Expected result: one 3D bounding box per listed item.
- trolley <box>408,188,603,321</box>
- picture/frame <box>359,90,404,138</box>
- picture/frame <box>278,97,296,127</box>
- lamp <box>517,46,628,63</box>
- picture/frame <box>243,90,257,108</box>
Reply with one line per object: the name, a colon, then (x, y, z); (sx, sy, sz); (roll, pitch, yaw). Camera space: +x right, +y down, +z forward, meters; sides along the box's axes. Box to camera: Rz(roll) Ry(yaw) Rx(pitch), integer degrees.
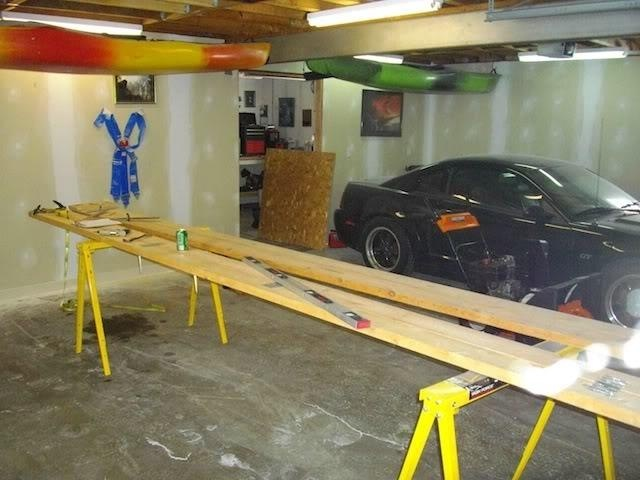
trolley: (1.855, 0.143, 4.898); (0.901, 0.734, 1.594); (-8, 17, -38)
picture/frame: (0.969, -1.938, 6.947); (0.095, 0.789, 0.896); (-5, 12, -44)
picture/frame: (-0.920, -3.560, 12.648); (0.061, 0.789, 0.733); (-9, 18, -40)
lamp: (2.481, -1.868, 4.591); (0.288, 0.134, 1.016); (-6, 15, -33)
picture/frame: (-1.970, -3.991, 12.741); (0.530, 0.566, 0.080); (-5, 13, -39)
